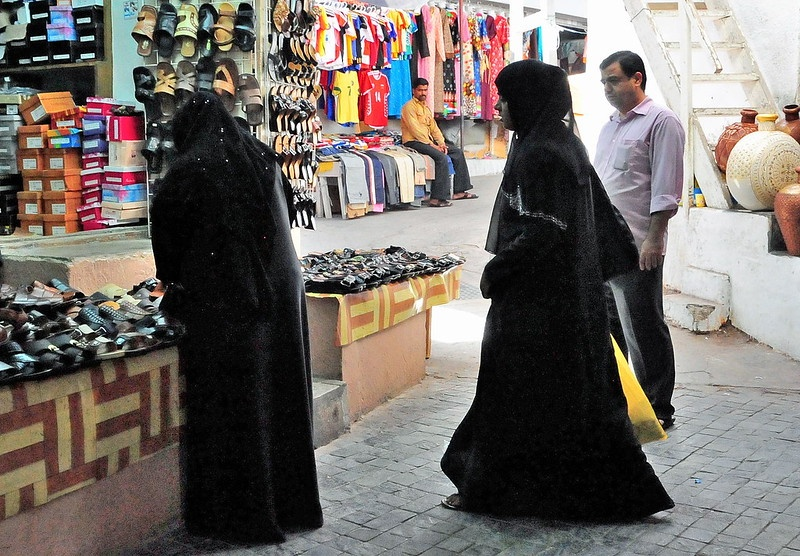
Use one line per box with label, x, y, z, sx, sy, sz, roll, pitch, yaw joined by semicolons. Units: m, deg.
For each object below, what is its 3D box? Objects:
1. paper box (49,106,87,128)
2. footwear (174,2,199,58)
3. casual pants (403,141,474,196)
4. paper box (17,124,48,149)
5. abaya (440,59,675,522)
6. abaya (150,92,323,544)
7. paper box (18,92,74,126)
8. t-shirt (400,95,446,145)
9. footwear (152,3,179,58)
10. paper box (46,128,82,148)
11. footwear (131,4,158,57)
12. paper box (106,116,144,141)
paper box;-2.880;-1.397;5.842;0.258;0.147;0.259;2;8;30
footwear;-1.593;-1.896;5.093;0.198;0.383;0.107;5;16;13
casual pants;0.840;-1.917;11.784;1.068;1.204;1.105;-8;5;-43
paper box;-3.260;-1.247;6.008;0.272;0.182;0.259;0;2;2
abaya;0.716;0.068;3.329;1.005;2.253;0.550;-1;13;4
abaya;-0.768;0.202;3.142;0.661;2.112;0.562;-6;14;-18
paper box;-3.157;-1.558;6.038;0.424;0.252;0.435;-8;15;47
t-shirt;0.397;-2.703;11.598;0.808;0.883;0.682;-6;10;-34
footwear;-1.786;-1.900;5.172;0.184;0.431;0.129;4;15;13
paper box;-2.887;-1.211;5.765;0.219;0.123;0.211;3;9;12
footwear;-1.968;-1.933;5.265;0.209;0.418;0.163;7;13;18
paper box;-2.260;-1.216;5.507;0.246;0.166;0.232;1;9;1
